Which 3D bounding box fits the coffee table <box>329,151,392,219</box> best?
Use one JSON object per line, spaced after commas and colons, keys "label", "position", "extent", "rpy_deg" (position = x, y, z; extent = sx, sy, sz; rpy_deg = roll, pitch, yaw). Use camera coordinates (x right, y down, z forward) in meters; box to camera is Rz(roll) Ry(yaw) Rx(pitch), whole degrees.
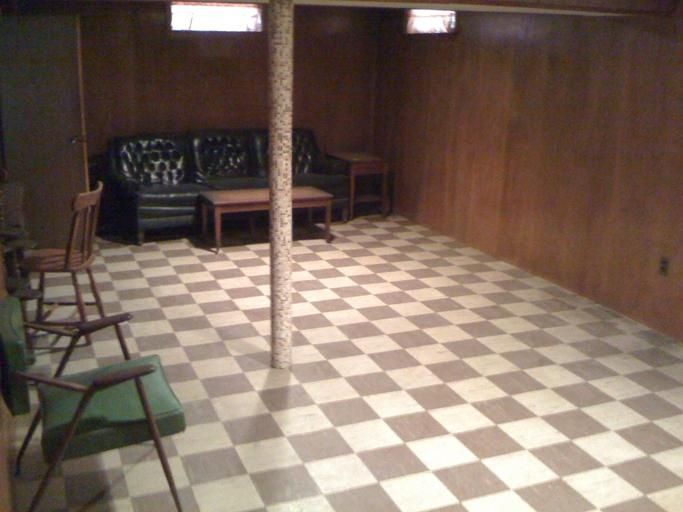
{"label": "coffee table", "position": [0.291, -1.097, 8.078], "extent": [0.982, 0.948, 1.055], "rpy_deg": [-3, 17, -4]}

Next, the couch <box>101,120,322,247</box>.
{"label": "couch", "position": [-2.001, -1.073, 7.294], "extent": [2.267, 0.998, 0.952], "rpy_deg": [-13, 42, -37]}
